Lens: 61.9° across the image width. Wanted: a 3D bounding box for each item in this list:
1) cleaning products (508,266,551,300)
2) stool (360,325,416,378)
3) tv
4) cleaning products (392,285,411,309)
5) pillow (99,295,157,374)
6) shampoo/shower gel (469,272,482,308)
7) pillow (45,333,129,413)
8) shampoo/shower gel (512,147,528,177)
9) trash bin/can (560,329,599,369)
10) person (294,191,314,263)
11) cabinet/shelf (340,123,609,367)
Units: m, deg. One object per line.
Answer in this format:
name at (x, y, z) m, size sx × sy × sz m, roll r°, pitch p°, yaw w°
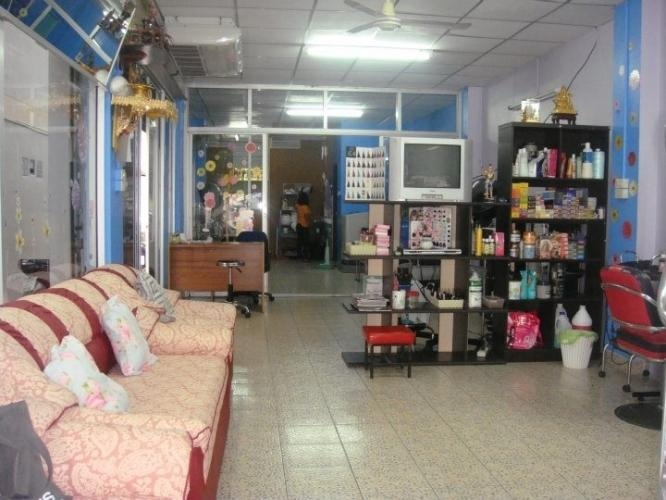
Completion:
cleaning products at (2.115, 0.380, 5.961) m, size 0.336 × 0.323 × 0.136 m, roll 0°, pitch -2°, yaw -4°
stool at (0.533, 0.988, 5.453) m, size 0.464 × 0.456 × 0.473 m, roll 0°, pitch -1°, yaw -1°
tv at (1.026, -0.815, 5.966) m, size 0.911 × 0.680 × 0.456 m, roll 1°, pitch 3°, yaw -3°
cleaning products at (0.682, 0.498, 5.676) m, size 0.152 × 0.199 × 0.274 m, roll 2°, pitch 7°, yaw 14°
pillow at (-1.323, 0.567, 3.534) m, size 0.137 × 0.424 × 0.388 m, roll -20°, pitch -15°, yaw 11°
shampoo/shower gel at (1.494, 0.427, 5.840) m, size 0.147 × 0.351 × 0.256 m, roll 2°, pitch 7°, yaw 13°
pillow at (-1.263, 0.677, 2.850) m, size 0.359 × 0.424 × 0.332 m, roll -2°, pitch 7°, yaw -19°
shampoo/shower gel at (1.951, -0.904, 5.782) m, size 0.145 × 0.292 × 0.177 m, roll 2°, pitch 7°, yaw 18°
trash bin/can at (2.481, 1.008, 5.705) m, size 0.385 × 0.364 × 0.412 m, roll -3°, pitch 1°, yaw 14°
person at (-0.771, -0.588, 14.291) m, size 0.375 × 1.721 × 0.677 m, roll 0°, pitch 7°, yaw -4°
cabinet/shelf at (1.275, 0.049, 5.891) m, size 2.300 × 2.247 × 0.605 m, roll 0°, pitch 1°, yaw -1°
